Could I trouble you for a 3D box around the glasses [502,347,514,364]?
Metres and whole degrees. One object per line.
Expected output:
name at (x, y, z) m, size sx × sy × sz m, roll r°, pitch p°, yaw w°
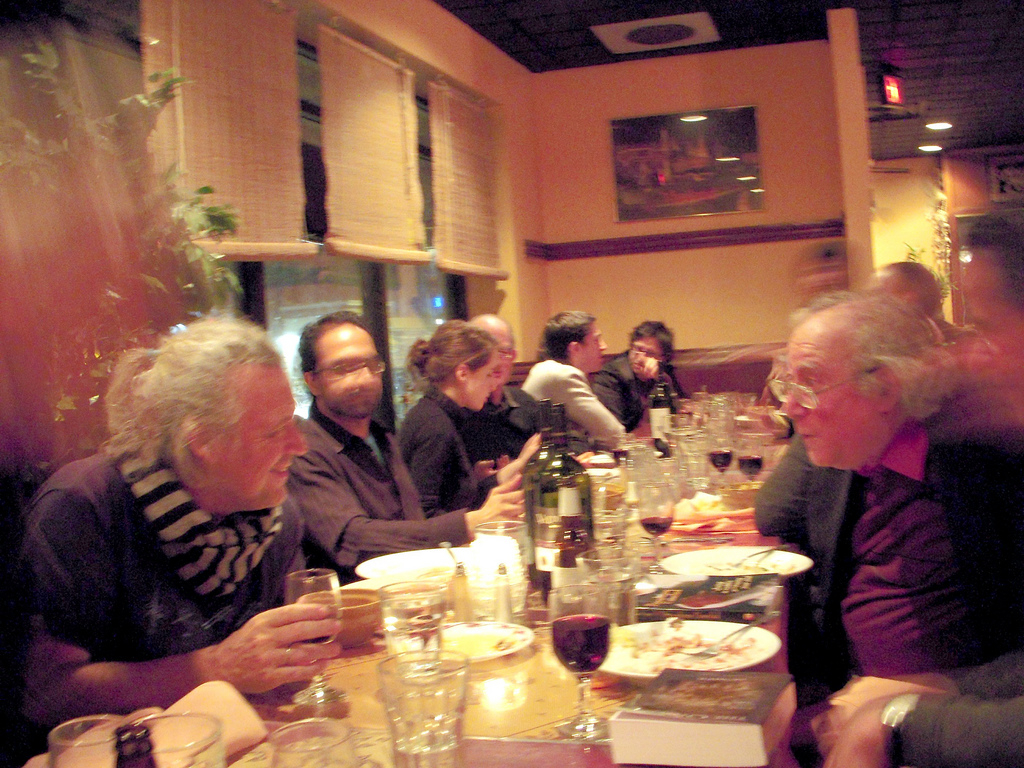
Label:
glasses at (-0.019, -0.187, 5.493) m, size 0.090 × 0.095 × 0.086 m, roll -2°, pitch 46°, yaw -1°
